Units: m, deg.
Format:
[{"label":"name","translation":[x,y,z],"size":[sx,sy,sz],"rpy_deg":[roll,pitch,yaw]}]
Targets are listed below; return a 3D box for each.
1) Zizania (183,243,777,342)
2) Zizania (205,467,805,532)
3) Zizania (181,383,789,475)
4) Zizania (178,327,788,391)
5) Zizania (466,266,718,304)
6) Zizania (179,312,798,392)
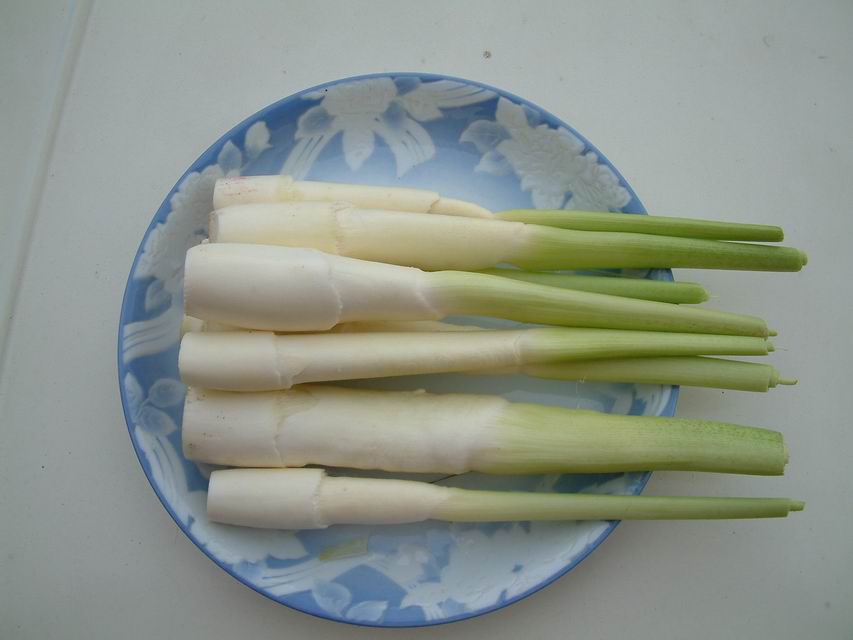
[{"label":"Zizania","translation":[0.090,-0.043,1.717],"size":[1.140,0.168,0.150],"rpy_deg":[4,76,19]},{"label":"Zizania","translation":[0.111,0.369,1.771],"size":[1.367,0.171,0.149],"rpy_deg":[0,87,-2]},{"label":"Zizania","translation":[0.150,0.237,1.815],"size":[1.300,0.201,0.168],"rpy_deg":[2,91,-6]},{"label":"Zizania","translation":[0.092,0.076,1.754],"size":[0.877,0.135,0.090],"rpy_deg":[-1,89,-5]},{"label":"Zizania","translation":[0.389,-0.071,1.796],"size":[0.349,0.243,0.080],"rpy_deg":[-4,115,-9]},{"label":"Zizania","translation":[0.148,-0.026,1.735],"size":[1.144,0.155,0.163],"rpy_deg":[4,72,0]}]
